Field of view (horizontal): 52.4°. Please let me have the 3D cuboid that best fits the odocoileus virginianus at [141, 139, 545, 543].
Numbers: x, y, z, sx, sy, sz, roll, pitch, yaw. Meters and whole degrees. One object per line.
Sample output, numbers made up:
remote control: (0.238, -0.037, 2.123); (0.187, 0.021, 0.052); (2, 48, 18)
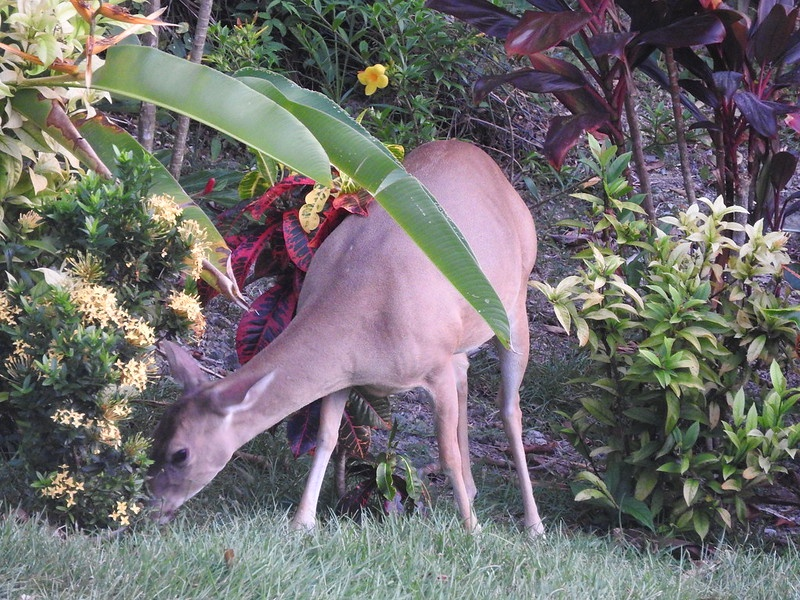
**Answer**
odocoileus virginianus: (-0.077, 0.068, 3.412); (1.751, 1.603, 0.656); (8, -2, -27)
